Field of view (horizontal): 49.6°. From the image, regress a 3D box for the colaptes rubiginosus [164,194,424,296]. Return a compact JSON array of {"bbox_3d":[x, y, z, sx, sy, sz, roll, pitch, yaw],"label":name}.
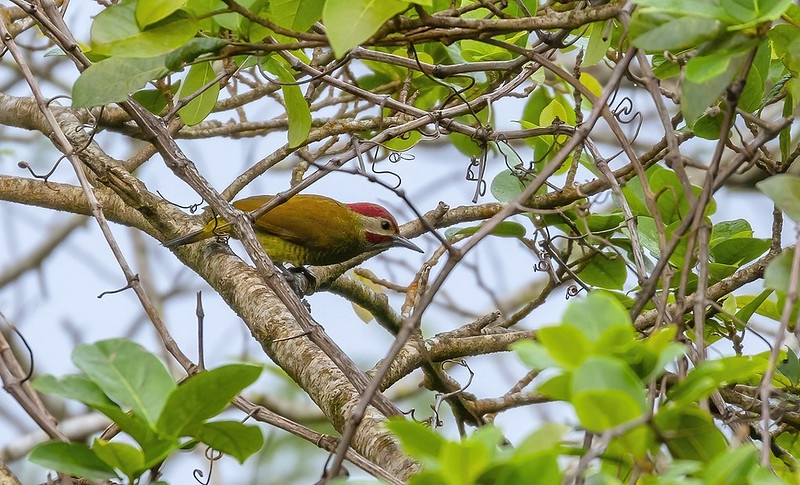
[{"bbox_3d":[-0.677,-0.100,6.857,2.765,0.853,1.107,-4,1,-10],"label":"colaptes rubiginosus"}]
